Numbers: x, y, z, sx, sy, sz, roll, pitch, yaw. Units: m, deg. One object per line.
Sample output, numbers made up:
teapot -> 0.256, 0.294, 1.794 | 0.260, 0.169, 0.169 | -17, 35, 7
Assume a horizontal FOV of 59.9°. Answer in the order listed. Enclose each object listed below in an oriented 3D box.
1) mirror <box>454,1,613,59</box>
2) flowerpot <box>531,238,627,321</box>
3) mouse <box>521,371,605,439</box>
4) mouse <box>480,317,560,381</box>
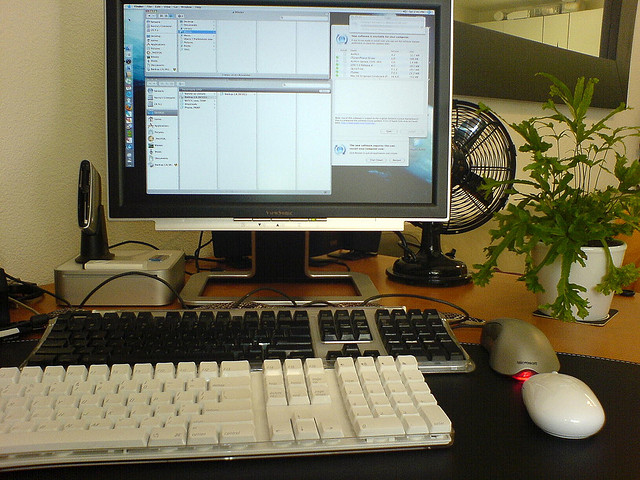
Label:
mirror -> 1.499, -1.527, 3.885 | 0.573, 0.420, 1.568 | -4, 18, -6
flowerpot -> 0.471, 0.059, 1.039 | 0.141, 0.124, 0.156 | -1, 3, -7
mouse -> 0.319, 0.213, 0.745 | 0.096, 0.061, 0.130 | -4, 18, 3
mouse -> 0.301, 0.155, 0.853 | 0.098, 0.062, 0.167 | 0, 12, 0
